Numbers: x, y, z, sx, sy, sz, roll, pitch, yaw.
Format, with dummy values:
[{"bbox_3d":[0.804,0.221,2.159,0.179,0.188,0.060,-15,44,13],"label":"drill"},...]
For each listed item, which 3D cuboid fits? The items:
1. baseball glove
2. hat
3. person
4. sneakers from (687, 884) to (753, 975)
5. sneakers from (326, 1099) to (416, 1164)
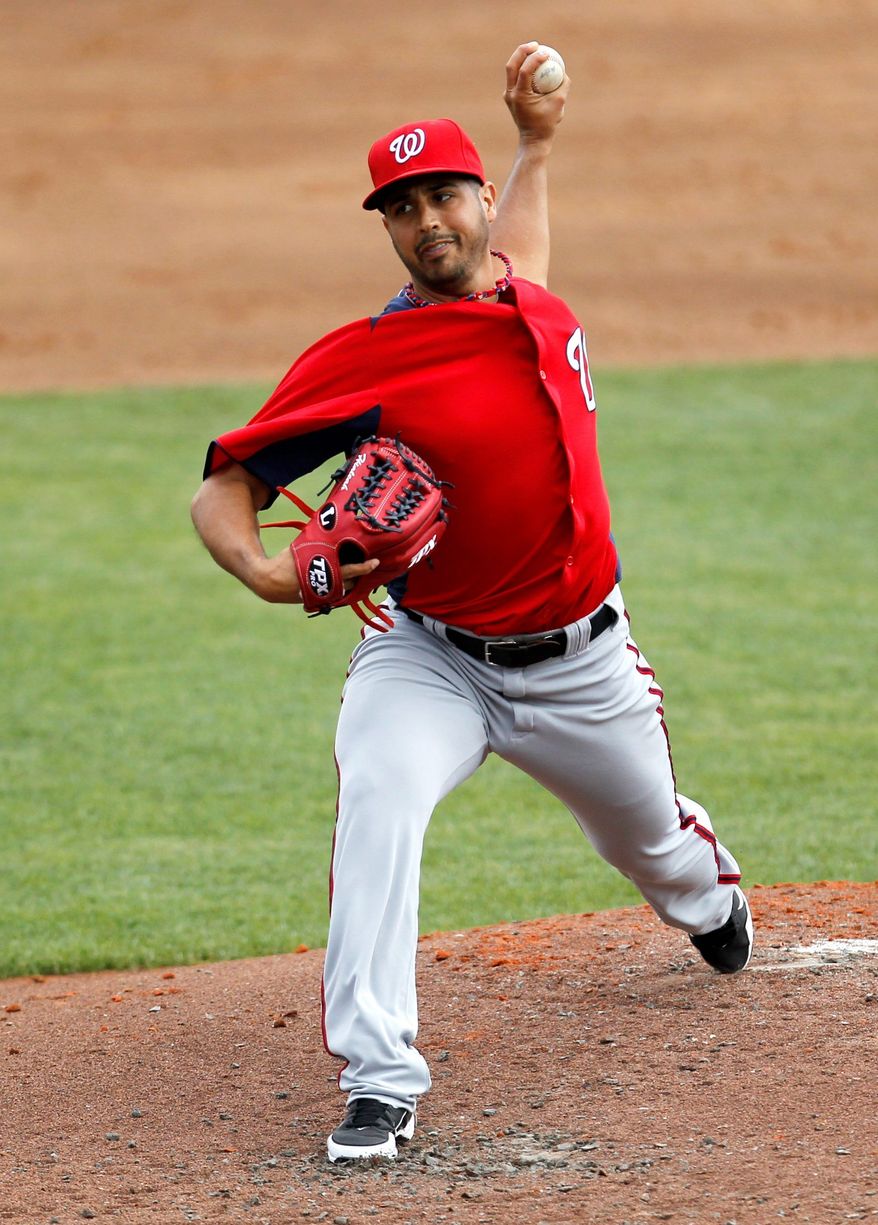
[{"bbox_3d":[-0.158,-0.150,3.028,0.233,0.361,0.155,40,-29,-4],"label":"baseball glove"},{"bbox_3d":[-0.034,-0.923,3.281,0.230,0.133,0.287,-9,10,19],"label":"hat"},{"bbox_3d":[0.007,-0.030,3.296,0.521,1.938,1.254,-4,6,37],"label":"person"},{"bbox_3d":[0.663,0.752,3.802,0.122,0.228,0.094,-2,2,-42],"label":"sneakers"},{"bbox_3d":[-0.130,0.923,2.885,0.085,0.066,0.191,3,0,11],"label":"sneakers"}]
